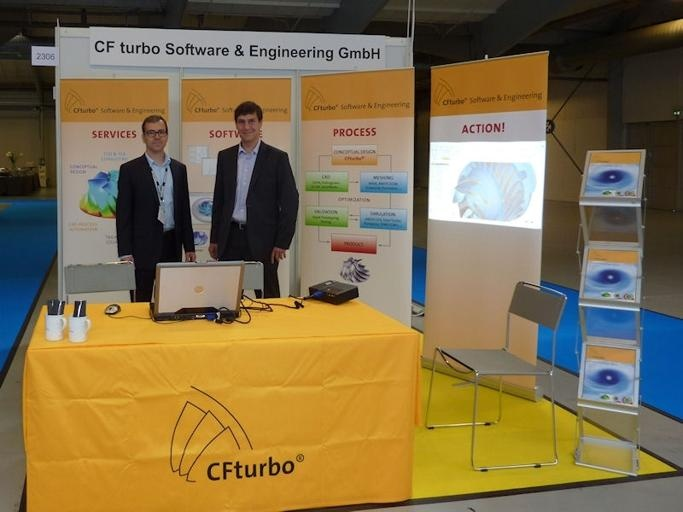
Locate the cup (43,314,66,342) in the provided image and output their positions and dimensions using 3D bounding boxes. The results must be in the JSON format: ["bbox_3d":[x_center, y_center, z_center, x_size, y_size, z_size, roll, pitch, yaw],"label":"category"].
[{"bbox_3d":[-1.492,0.361,3.023,0.123,0.132,0.074,3,11,15],"label":"cup"}]

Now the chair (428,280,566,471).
[{"bbox_3d":[1.050,0.750,4.038,0.724,1.158,0.910,4,1,-4],"label":"chair"}]

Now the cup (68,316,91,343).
[{"bbox_3d":[-1.339,0.370,2.984,0.122,0.139,0.084,2,-1,4],"label":"cup"}]

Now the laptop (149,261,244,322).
[{"bbox_3d":[-0.851,0.139,3.451,0.482,0.372,0.388,-1,21,-23],"label":"laptop"}]

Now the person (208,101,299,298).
[{"bbox_3d":[-0.746,-0.450,4.909,0.750,1.608,0.409,-1,10,-4],"label":"person"}]
